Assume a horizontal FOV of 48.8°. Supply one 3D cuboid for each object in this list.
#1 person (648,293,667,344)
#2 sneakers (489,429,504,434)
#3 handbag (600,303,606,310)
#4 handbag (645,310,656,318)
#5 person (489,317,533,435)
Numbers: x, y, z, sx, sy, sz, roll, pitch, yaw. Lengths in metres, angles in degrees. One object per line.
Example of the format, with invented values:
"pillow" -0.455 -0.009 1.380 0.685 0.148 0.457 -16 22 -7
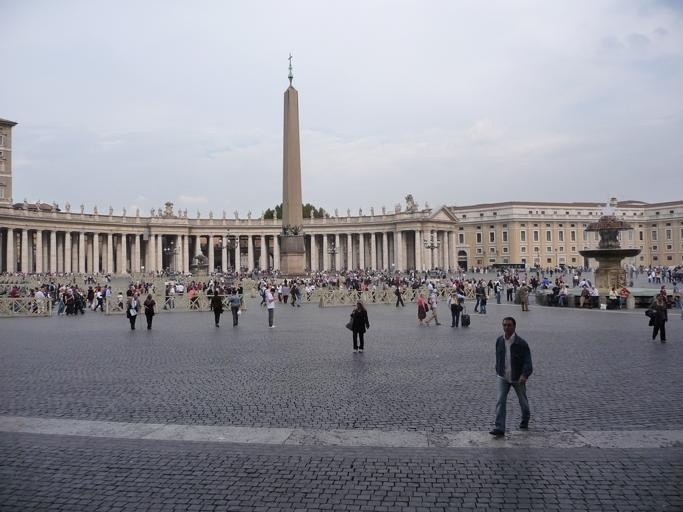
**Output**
"person" 7.872 1.591 18.782 0.414 1.193 2.066 3 8 23
"sneakers" 2.263 2.584 10.986 0.203 0.086 0.073 7 -18 -6
"handbag" 10.407 2.043 29.935 0.200 0.202 0.264 2 -3 18
"handbag" 7.408 1.374 18.054 0.196 0.195 0.432 3 8 23
"person" 2.519 1.791 11.133 0.537 1.654 0.707 1 8 14
